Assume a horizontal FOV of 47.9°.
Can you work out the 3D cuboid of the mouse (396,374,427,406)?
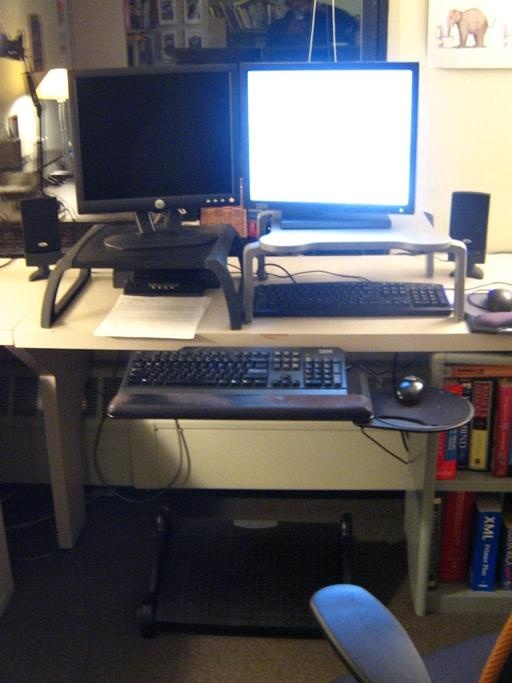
[{"bbox_3d":[0.375,0.110,1.353,0.054,0.065,0.066,-1,11,40],"label":"mouse"}]

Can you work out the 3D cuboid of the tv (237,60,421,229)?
[{"bbox_3d":[0.193,-0.520,1.489,0.431,0.367,0.147,1,27,5],"label":"tv"}]

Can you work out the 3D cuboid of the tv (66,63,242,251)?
[{"bbox_3d":[-0.259,-0.521,1.482,0.424,0.344,0.075,-2,21,-1],"label":"tv"}]

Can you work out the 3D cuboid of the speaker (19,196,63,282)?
[{"bbox_3d":[-0.635,-0.306,1.698,0.110,0.231,0.069,-14,30,-36],"label":"speaker"}]
